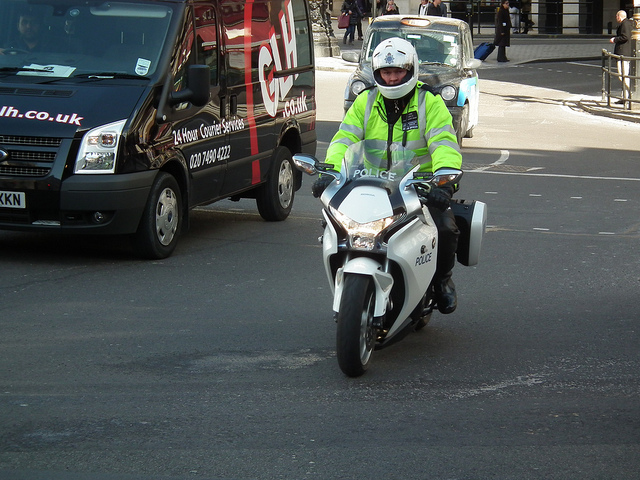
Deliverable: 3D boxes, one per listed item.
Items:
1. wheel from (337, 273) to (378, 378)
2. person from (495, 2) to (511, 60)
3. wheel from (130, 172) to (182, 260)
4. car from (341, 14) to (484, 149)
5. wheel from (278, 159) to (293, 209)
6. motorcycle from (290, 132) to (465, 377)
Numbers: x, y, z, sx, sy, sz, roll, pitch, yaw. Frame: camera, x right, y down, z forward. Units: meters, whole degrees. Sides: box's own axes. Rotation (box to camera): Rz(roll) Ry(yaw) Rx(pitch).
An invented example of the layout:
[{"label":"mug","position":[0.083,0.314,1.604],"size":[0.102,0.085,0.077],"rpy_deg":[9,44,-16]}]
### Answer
[{"label":"wheel","position":[0.232,0.509,4.846],"size":[0.252,0.504,0.610],"rpy_deg":[3,18,9]},{"label":"person","position":[8.311,-9.367,34.869],"size":[0.626,2.493,1.458],"rpy_deg":[4,14,11]},{"label":"wheel","position":[-1.704,-0.245,7.890],"size":[0.324,0.843,0.920],"rpy_deg":[-2,4,25]},{"label":"car","position":[2.120,-3.738,17.199],"size":[2.670,2.346,4.784],"rpy_deg":[6,24,10]},{"label":"wheel","position":[-0.448,-0.739,10.239],"size":[0.131,0.612,0.521],"rpy_deg":[5,14,14]},{"label":"motorcycle","position":[0.235,0.019,5.009],"size":[0.985,1.093,1.820],"rpy_deg":[0,3,15]}]
